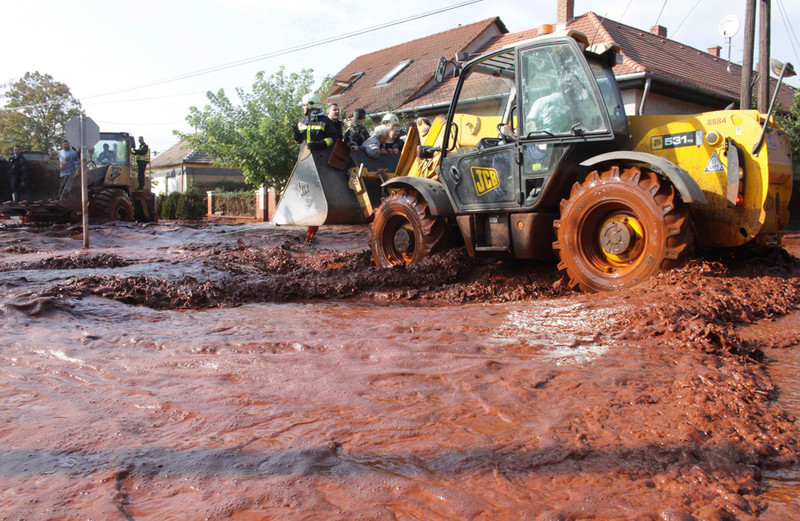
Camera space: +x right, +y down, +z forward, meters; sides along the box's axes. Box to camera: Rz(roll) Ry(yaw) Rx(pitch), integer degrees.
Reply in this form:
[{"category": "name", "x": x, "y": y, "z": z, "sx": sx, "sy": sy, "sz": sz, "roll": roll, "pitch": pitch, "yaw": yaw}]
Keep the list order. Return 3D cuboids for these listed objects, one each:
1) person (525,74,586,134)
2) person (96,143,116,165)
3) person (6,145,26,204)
[{"category": "person", "x": 1.873, "y": -1.889, "z": 6.456, "sx": 0.641, "sy": 0.673, "sz": 0.240, "roll": 11, "pitch": 19, "yaw": 42}, {"category": "person", "x": -9.503, "y": -3.413, "z": 17.238, "sx": 0.586, "sy": 0.648, "sz": 0.197, "roll": -2, "pitch": 0, "yaw": -6}, {"category": "person", "x": -11.792, "y": -2.678, "z": 16.458, "sx": 0.556, "sy": 1.670, "sz": 0.956, "roll": -11, "pitch": 17, "yaw": -33}]
